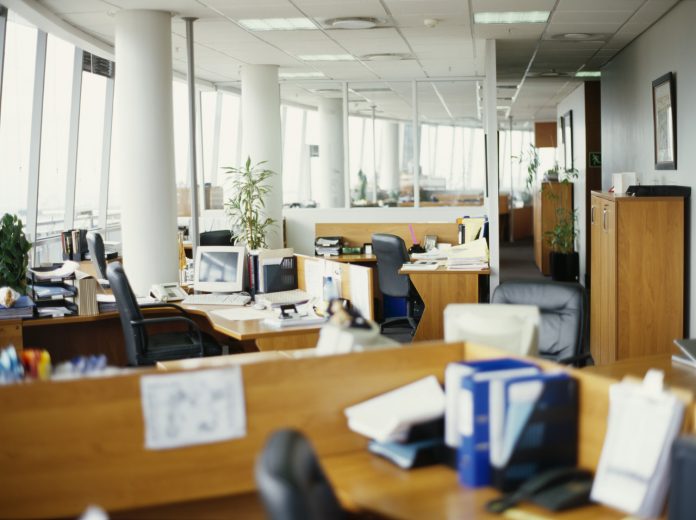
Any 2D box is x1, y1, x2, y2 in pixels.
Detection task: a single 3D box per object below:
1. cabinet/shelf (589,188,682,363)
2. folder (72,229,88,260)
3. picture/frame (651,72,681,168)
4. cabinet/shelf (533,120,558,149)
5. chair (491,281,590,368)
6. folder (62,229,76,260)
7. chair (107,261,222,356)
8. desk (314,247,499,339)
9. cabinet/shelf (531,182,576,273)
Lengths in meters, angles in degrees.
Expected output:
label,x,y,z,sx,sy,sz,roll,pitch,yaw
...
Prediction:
label,x,y,z,sx,sy,sz,roll,pitch,yaw
cabinet/shelf,2.624,0.205,4.918,0.822,1.624,0.690,8,10,41
folder,-3.383,-0.204,6.741,0.134,0.376,0.386,0,1,3
picture/frame,3.383,-1.489,5.704,0.212,0.996,0.795,4,9,23
cabinet/shelf,6.078,-3.820,16.544,0.626,0.940,0.991,0,3,8
chair,0.959,0.305,2.561,0.424,0.575,0.480,0,-14,13
folder,-3.493,-0.204,6.705,0.131,0.371,0.379,0,3,1
chair,-1.394,0.584,4.255,0.837,1.062,0.699,-2,4,-28
desk,0.862,0.492,6.128,0.930,0.820,1.684,3,-4,-13
cabinet/shelf,4.114,-0.924,10.931,1.426,1.325,0.454,-7,4,-35
